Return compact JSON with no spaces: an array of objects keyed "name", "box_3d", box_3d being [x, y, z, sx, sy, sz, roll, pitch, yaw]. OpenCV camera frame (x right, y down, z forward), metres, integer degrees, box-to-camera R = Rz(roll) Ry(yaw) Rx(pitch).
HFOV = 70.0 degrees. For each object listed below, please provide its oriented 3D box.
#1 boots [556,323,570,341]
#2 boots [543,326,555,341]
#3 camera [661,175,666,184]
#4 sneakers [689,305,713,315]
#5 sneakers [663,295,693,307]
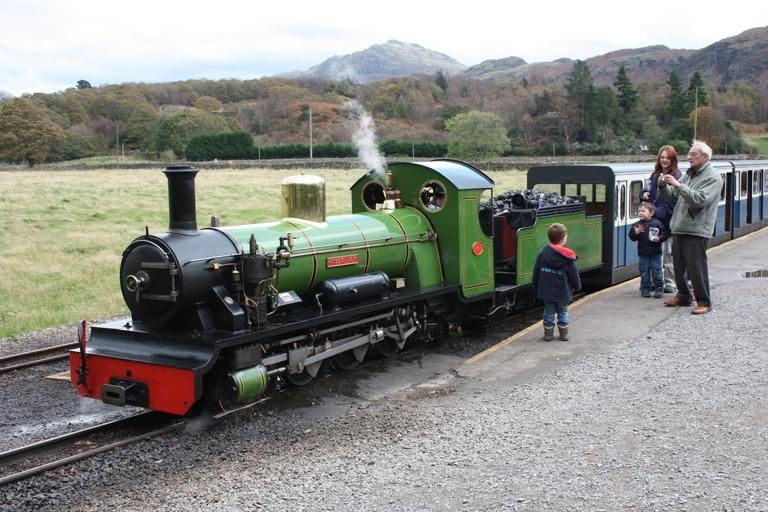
[{"name":"boots","box_3d":[3.003,1.273,9.201,0.153,0.265,0.298,-1,10,16]},{"name":"boots","box_3d":[2.781,1.310,9.310,0.115,0.195,0.316,2,7,19]},{"name":"camera","box_3d":[4.461,-1.237,8.775,0.051,0.115,0.088,-1,1,-32]},{"name":"sneakers","box_3d":[5.492,0.933,9.579,0.352,0.132,0.151,3,-5,-41]},{"name":"sneakers","box_3d":[5.374,0.815,10.069,0.449,0.173,0.176,1,5,13]}]
